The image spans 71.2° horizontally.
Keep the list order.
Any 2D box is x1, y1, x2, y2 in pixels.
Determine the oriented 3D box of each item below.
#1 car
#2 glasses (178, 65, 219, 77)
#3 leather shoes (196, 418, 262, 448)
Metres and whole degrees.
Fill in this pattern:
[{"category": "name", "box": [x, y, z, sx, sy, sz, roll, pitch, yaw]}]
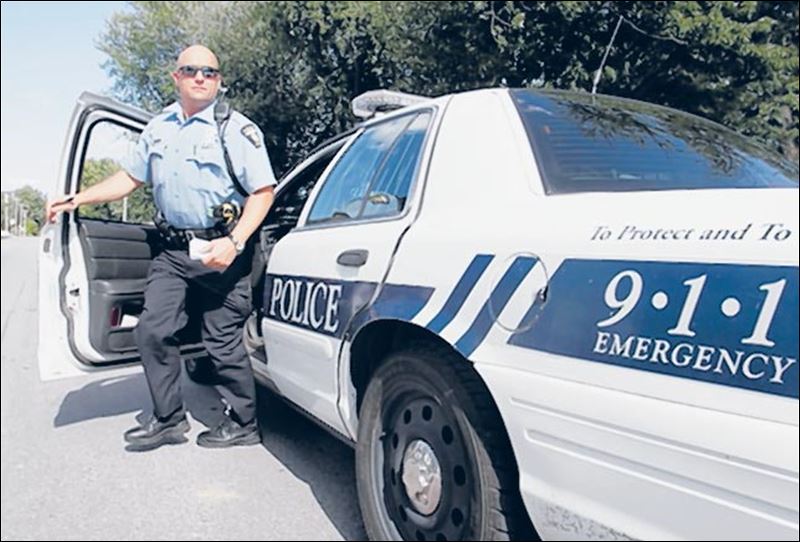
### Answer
[{"category": "car", "box": [0.328, 0.053, 2.774, 1.967, 1.021, 2.789, 0, 3, -39]}, {"category": "glasses", "box": [-1.284, -1.261, 3.562, 0.251, 0.072, 0.110, -1, 7, -22]}, {"category": "leather shoes", "box": [-1.164, 1.135, 3.856, 0.408, 0.203, 0.192, 4, -7, -11]}]
